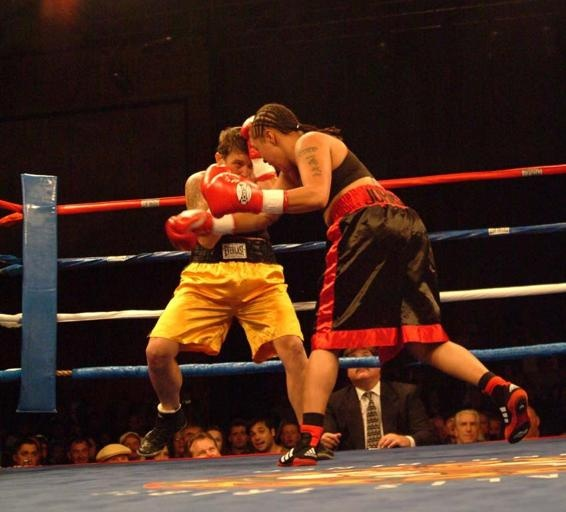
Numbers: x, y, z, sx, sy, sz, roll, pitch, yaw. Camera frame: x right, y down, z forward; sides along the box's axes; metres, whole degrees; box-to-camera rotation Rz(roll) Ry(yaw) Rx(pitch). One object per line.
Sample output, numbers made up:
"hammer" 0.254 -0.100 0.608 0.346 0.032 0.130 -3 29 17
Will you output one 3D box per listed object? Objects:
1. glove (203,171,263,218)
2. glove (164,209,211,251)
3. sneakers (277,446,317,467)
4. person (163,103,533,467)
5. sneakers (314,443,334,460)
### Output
"glove" -0.174 -0.220 2.469 0.155 0.169 0.150 -1 -5 -31
"glove" -0.322 -0.093 2.492 0.143 0.143 0.064 0 31 2
"sneakers" 0.057 0.666 2.361 0.158 0.051 0.051 -3 -10 17
"person" 0.104 0.269 3.225 1.672 1.619 0.966 -16 -28 29
"sneakers" 0.158 0.734 2.688 0.059 0.057 0.158 -5 -7 20
